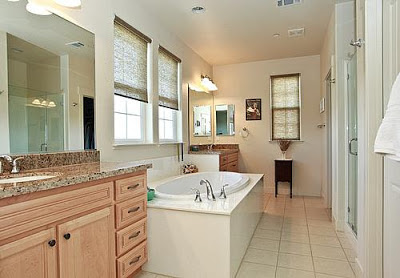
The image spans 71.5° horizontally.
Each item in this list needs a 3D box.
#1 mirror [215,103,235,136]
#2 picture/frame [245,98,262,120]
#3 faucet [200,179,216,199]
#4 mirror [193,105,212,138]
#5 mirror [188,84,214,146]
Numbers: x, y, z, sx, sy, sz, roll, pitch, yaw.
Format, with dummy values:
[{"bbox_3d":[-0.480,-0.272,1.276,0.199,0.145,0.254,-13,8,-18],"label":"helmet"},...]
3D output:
[{"bbox_3d":[0.565,-0.424,6.184,0.419,0.670,0.159,1,6,3],"label":"mirror"},{"bbox_3d":[1.162,-0.637,5.954,0.461,0.608,0.060,2,5,24],"label":"picture/frame"},{"bbox_3d":[0.102,0.546,3.174,0.166,0.213,0.267,2,6,4],"label":"faucet"},{"bbox_3d":[0.033,-0.355,5.582,0.031,0.504,0.706,-1,0,20],"label":"mirror"},{"bbox_3d":[0.004,-0.463,5.508,0.106,1.264,1.261,-1,-2,21],"label":"mirror"}]
